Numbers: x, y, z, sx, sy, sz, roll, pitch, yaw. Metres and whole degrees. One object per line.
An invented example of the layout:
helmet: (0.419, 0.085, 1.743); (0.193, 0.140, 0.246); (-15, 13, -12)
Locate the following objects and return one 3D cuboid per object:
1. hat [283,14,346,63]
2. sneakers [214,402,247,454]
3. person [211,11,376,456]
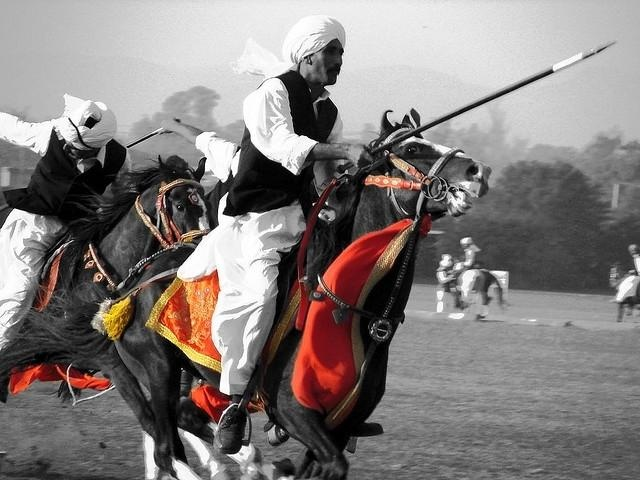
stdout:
hat: (-0.023, -1.038, 3.603); (0.335, 0.209, 0.251); (-7, 16, 35)
sneakers: (-0.440, 0.998, 3.594); (0.152, 0.306, 0.139); (17, -49, -22)
person: (-0.204, -0.019, 3.595); (0.697, 2.309, 0.634); (1, 4, -8)
